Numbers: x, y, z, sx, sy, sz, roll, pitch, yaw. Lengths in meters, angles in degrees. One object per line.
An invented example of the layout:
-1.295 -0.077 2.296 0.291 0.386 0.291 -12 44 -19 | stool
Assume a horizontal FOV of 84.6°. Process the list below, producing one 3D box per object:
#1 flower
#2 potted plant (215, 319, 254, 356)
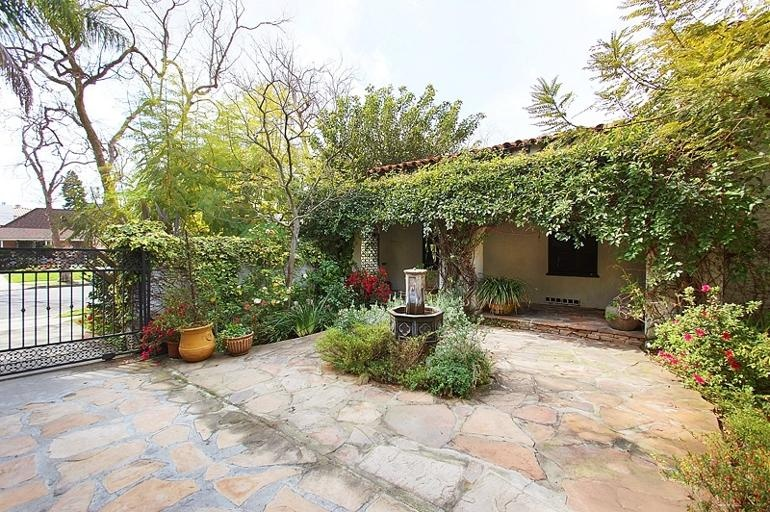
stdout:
-3.964 1.297 7.982 1.313 1.161 1.086 1 -5 -14 | flower
-2.813 1.571 7.964 0.520 0.424 0.515 -3 5 -25 | potted plant
